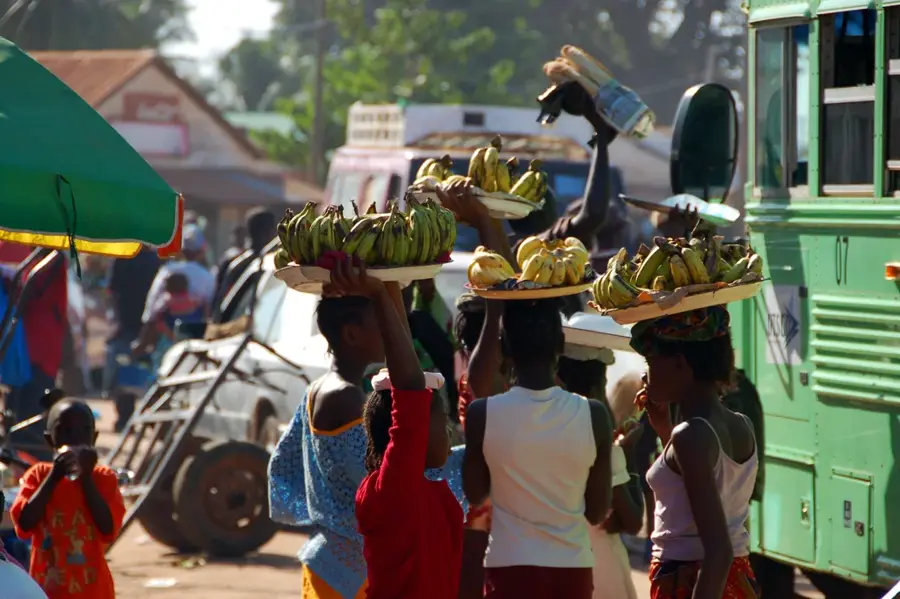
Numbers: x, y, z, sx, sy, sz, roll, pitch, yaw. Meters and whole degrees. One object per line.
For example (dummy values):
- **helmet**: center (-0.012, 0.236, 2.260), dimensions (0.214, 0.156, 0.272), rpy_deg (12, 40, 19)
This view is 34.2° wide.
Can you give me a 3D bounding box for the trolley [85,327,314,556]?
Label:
- **trolley**: center (-2.345, 1.562, 14.365), dimensions (1.948, 2.253, 2.074), rpy_deg (-5, -14, -23)
